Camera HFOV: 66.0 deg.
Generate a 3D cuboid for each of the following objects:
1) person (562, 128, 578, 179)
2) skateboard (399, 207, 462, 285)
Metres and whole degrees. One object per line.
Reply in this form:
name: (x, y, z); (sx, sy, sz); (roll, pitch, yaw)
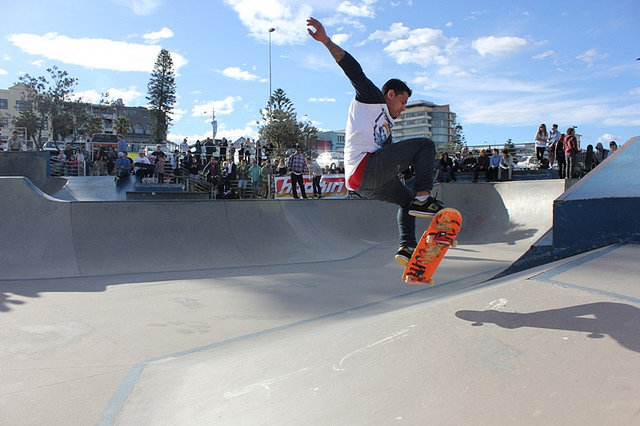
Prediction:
person: (7.233, -1.715, 14.234); (0.353, 1.413, 1.163); (6, 8, 26)
skateboard: (1.178, 0.440, 5.455); (0.397, 1.153, 0.197); (19, 31, -11)
